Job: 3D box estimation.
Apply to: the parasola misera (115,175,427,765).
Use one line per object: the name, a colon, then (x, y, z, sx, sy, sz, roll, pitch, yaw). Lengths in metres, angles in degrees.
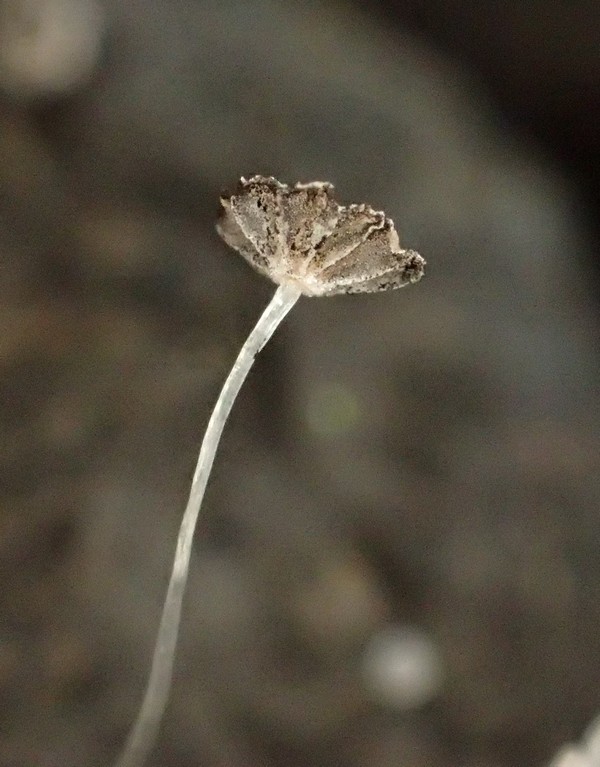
parasola misera: (-0.060, 0.113, 1.853, 0.503, 1.127, 0.588, -11, -7, 16)
